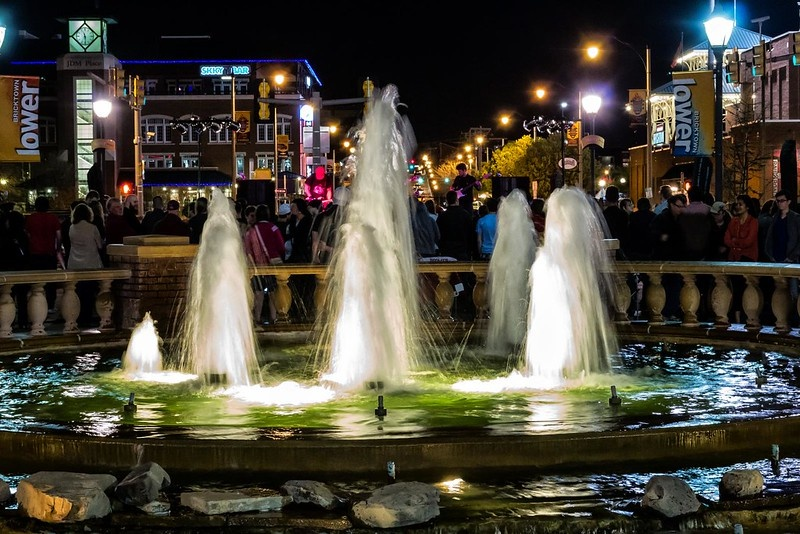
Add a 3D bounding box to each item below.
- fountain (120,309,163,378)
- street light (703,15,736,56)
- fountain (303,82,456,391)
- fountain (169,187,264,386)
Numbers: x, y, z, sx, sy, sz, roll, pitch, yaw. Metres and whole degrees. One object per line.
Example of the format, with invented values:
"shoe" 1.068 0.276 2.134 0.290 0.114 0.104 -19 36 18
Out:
"fountain" -4.120 1.261 13.457 0.598 0.764 0.856 -3 7 -26
"street light" 8.034 -5.992 21.341 0.613 1.047 1.518 2 7 23
"fountain" -0.454 -0.724 13.841 1.792 4.672 4.502 0 6 2
"fountain" -3.006 0.172 13.840 1.290 2.859 3.306 -2 6 -15
